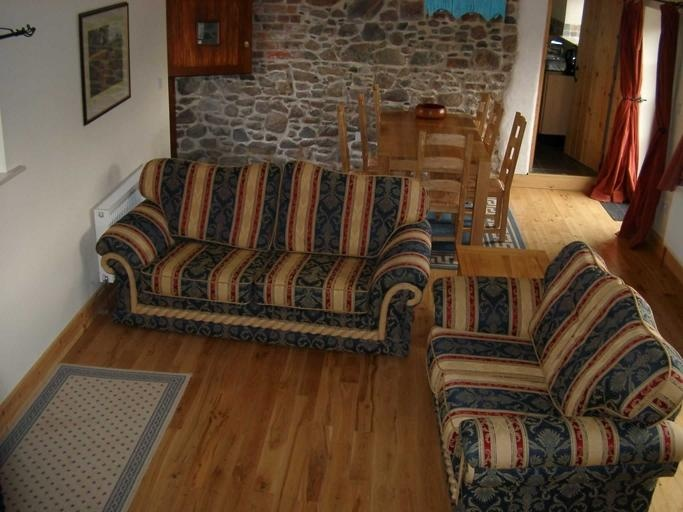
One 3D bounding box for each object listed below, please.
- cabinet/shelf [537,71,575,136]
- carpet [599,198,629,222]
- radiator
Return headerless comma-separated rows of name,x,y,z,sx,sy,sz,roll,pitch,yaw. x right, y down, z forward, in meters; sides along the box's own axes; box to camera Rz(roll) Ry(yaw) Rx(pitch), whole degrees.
cabinet/shelf,3.055,-2.163,7.668,0.430,0.805,0.439,1,-4,14
carpet,3.011,-0.484,5.939,0.264,0.288,0.492,0,-4,26
radiator,-1.608,-0.189,3.869,0.172,0.425,0.866,7,37,5
